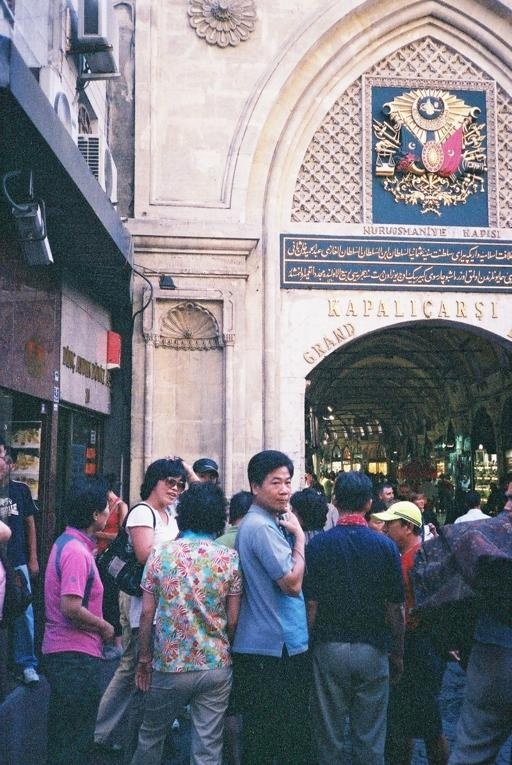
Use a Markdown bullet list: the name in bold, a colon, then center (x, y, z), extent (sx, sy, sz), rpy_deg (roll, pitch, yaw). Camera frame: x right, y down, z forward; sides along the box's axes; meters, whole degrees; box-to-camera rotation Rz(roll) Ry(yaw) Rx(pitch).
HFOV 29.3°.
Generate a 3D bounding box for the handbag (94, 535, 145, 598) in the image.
- **handbag**: center (-0.750, 1.010, 5.427), extent (0.232, 0.430, 0.232), rpy_deg (-1, 2, -41)

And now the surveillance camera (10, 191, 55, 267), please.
- **surveillance camera**: center (-1.540, -1.103, 6.767), extent (0.246, 0.472, 0.592), rpy_deg (2, -9, -9)

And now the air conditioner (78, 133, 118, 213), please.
- **air conditioner**: center (-1.483, -2.085, 9.374), extent (0.354, 0.981, 0.485), rpy_deg (1, 5, -3)

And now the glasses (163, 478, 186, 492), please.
- **glasses**: center (-0.442, 0.577, 5.519), extent (0.065, 0.066, 0.210), rpy_deg (-2, -10, 18)
